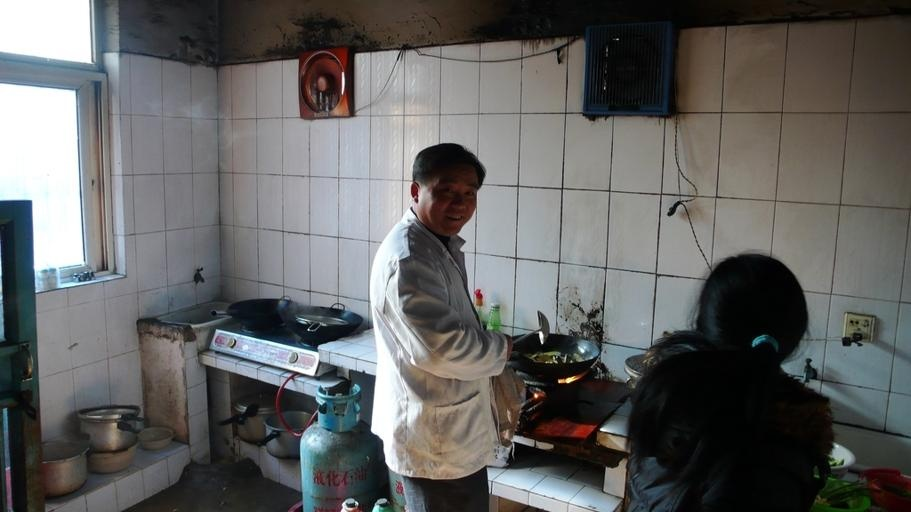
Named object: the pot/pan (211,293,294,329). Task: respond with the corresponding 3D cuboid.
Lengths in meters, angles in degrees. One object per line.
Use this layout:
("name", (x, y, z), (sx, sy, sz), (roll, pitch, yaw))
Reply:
("pot/pan", (-1.517, 0.433, 4.717), (0.280, 0.110, 0.427), (8, 11, 39))

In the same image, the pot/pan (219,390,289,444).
("pot/pan", (-1.563, 1.254, 4.684), (0.305, 0.191, 0.472), (3, 9, 11))

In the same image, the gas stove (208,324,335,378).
("gas stove", (-1.371, 0.696, 4.519), (1.026, 0.228, 0.156), (6, 11, 23))

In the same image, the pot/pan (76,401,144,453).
("pot/pan", (-2.466, 1.260, 4.468), (0.611, 0.238, 0.400), (1, -1, 32))

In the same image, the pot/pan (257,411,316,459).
("pot/pan", (-1.306, 1.401, 4.584), (0.339, 0.187, 0.494), (-6, -16, 10))

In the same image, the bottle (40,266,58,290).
("bottle", (-2.878, 0.162, 4.331), (0.104, 0.155, 0.057), (-6, 13, -37))

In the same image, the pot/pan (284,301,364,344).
("pot/pan", (-1.043, 0.514, 4.538), (0.704, 0.195, 0.429), (8, 12, 34))
